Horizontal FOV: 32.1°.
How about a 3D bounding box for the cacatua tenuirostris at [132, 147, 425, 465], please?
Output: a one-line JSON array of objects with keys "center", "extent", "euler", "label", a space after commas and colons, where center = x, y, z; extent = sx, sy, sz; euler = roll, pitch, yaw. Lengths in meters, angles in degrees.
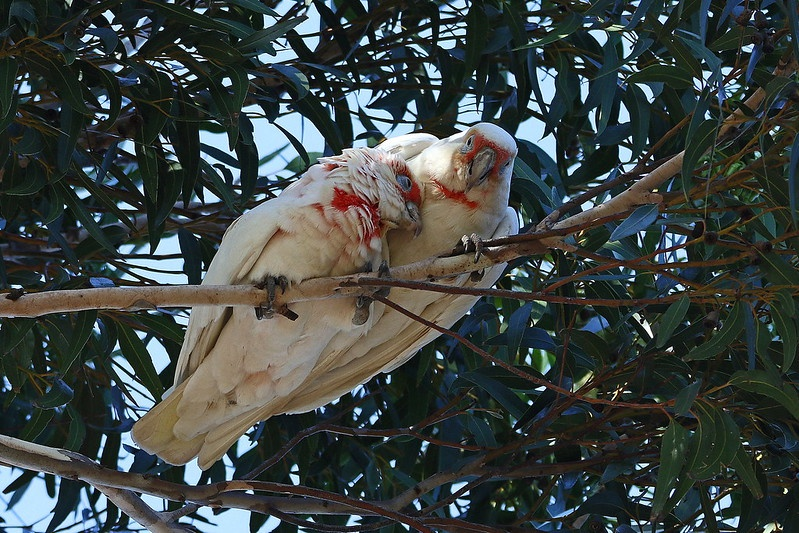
[{"center": [-0.516, 0.187, 6.115], "extent": [0.737, 1.381, 1.025], "euler": [25, -27, -15], "label": "cacatua tenuirostris"}]
